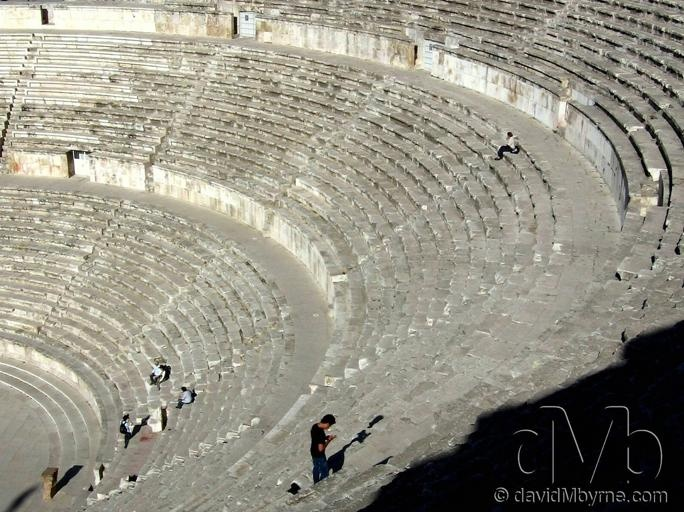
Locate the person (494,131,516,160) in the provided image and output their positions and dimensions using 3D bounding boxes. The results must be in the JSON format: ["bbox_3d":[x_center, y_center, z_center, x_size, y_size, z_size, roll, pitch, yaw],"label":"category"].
[{"bbox_3d":[4.519,-3.072,23.362,0.664,0.505,0.745,-13,38,17],"label":"person"}]
